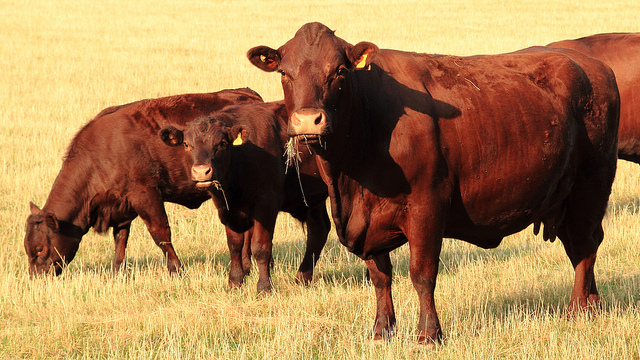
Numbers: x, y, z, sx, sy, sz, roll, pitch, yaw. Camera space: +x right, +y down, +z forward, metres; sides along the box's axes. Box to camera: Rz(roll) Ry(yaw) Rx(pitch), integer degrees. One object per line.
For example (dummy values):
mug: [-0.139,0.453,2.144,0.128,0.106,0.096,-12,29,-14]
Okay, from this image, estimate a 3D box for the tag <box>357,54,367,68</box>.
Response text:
tag: [0.784,-2.252,17.459,0.148,0.204,0.200,19,-14,1]

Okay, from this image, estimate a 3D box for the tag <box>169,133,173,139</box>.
tag: [-3.289,-0.984,20.363,0.065,0.065,0.019,-40,14,-24]

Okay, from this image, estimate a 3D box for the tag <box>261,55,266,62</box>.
tag: [-1.094,-2.332,17.648,0.063,0.131,0.010,2,18,12]

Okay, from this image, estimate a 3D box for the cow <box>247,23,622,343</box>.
cow: [2.646,-0.019,18.202,6.436,6.167,1.698,-4,18,-9]
